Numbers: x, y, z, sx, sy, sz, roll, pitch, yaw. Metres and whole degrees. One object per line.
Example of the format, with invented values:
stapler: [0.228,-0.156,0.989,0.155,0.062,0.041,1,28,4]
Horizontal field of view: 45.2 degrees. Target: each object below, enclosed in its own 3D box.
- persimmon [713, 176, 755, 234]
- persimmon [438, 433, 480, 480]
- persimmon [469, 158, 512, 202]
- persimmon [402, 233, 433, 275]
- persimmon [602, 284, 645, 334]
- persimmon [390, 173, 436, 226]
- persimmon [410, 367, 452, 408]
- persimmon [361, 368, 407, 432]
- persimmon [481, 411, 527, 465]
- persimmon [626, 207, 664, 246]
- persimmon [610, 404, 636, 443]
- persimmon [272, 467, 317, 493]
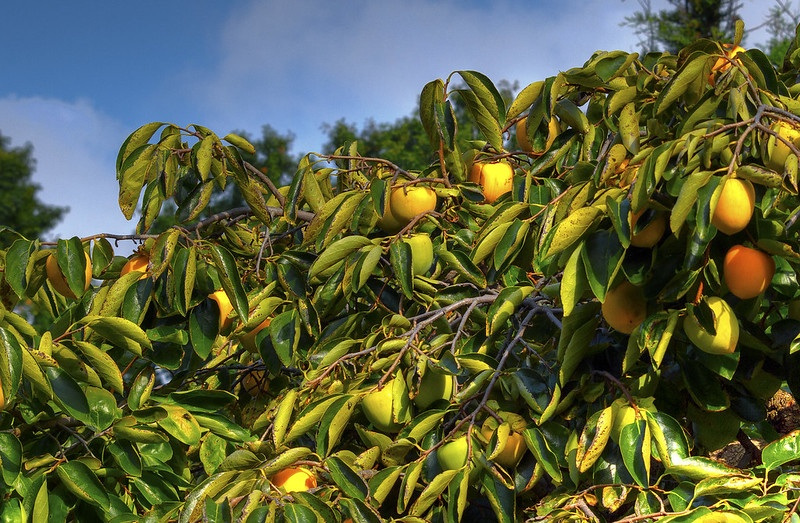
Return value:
persimmon: [1.401,-0.242,4.046,0.168,0.214,0.116,11,-19,-30]
persimmon: [0.259,0.882,4.349,0.172,0.208,0.179,8,-6,-32]
persimmon: [0.535,-0.447,5.599,0.262,0.290,0.210,0,-3,-36]
persimmon: [0.101,-0.039,4.951,0.167,0.225,0.175,-6,4,-5]
persimmon: [1.002,0.205,4.275,0.194,0.206,0.139,-2,-17,14]
persimmon: [0.077,-0.333,5.080,0.209,0.244,0.227,7,8,7]
persimmon: [0.169,0.597,4.568,0.185,0.252,0.198,-1,9,4]
persimmon: [-0.071,0.654,4.463,0.200,0.297,0.273,8,-24,-28]
persimmon: [0.515,0.839,4.432,0.228,0.243,0.112,-28,13,-34]
persimmon: [1.075,-0.136,4.125,0.092,0.155,0.151,-16,18,38]
persimmon: [0.974,0.703,4.183,0.083,0.163,0.146,7,-17,-19]
persimmon: [-0.478,0.982,4.321,0.208,0.122,0.168,4,-17,-8]
